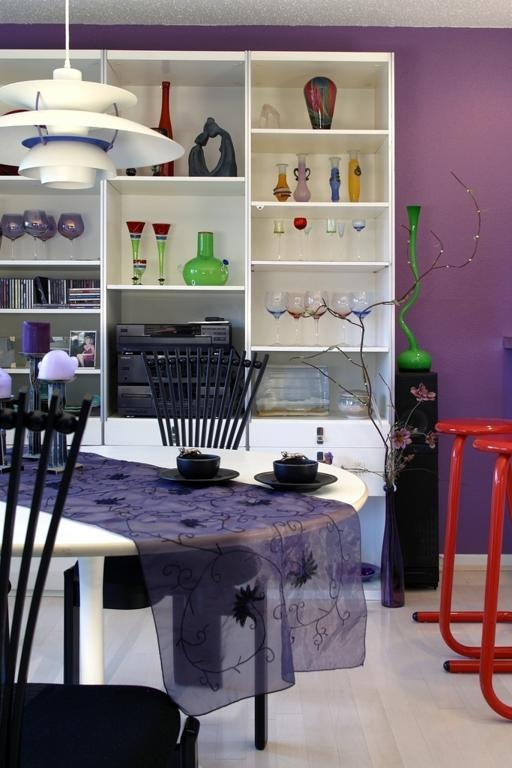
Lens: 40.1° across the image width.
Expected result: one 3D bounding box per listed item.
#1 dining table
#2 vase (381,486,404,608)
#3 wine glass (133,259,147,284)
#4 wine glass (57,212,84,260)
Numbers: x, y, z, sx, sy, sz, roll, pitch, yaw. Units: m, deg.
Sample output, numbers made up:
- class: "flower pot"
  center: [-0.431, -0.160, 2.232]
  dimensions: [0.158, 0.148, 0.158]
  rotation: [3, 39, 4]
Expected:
- class: "dining table"
  center: [-0.127, 0.344, 1.440]
  dimensions: [0.512, 0.267, 0.536]
  rotation: [-1, 1, -39]
- class: "vase"
  center: [0.557, 0.672, 2.909]
  dimensions: [0.092, 0.490, 0.169]
  rotation: [0, 1, 0]
- class: "wine glass"
  center: [-0.548, -0.526, 3.297]
  dimensions: [0.053, 0.128, 0.123]
  rotation: [0, 2, -9]
- class: "wine glass"
  center: [-0.874, -0.709, 3.336]
  dimensions: [0.121, 0.210, 0.264]
  rotation: [0, 2, -14]
